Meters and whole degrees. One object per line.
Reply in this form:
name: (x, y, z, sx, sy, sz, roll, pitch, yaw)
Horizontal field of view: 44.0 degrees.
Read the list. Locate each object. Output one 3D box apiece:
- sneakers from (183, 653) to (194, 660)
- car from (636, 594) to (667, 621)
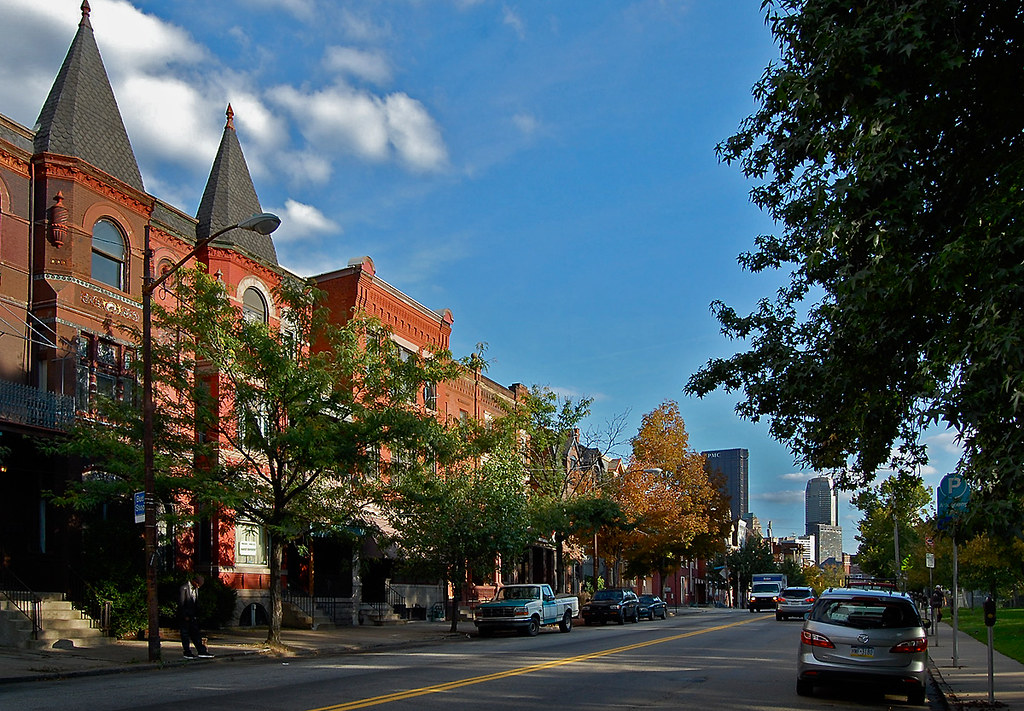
sneakers: (-8.637, 8.220, 34.522, 0.123, 0.151, 0.364, 7, -14, -39)
car: (7.006, 12.555, 62.925, 0.691, 1.435, 3.345, -7, -20, 19)
